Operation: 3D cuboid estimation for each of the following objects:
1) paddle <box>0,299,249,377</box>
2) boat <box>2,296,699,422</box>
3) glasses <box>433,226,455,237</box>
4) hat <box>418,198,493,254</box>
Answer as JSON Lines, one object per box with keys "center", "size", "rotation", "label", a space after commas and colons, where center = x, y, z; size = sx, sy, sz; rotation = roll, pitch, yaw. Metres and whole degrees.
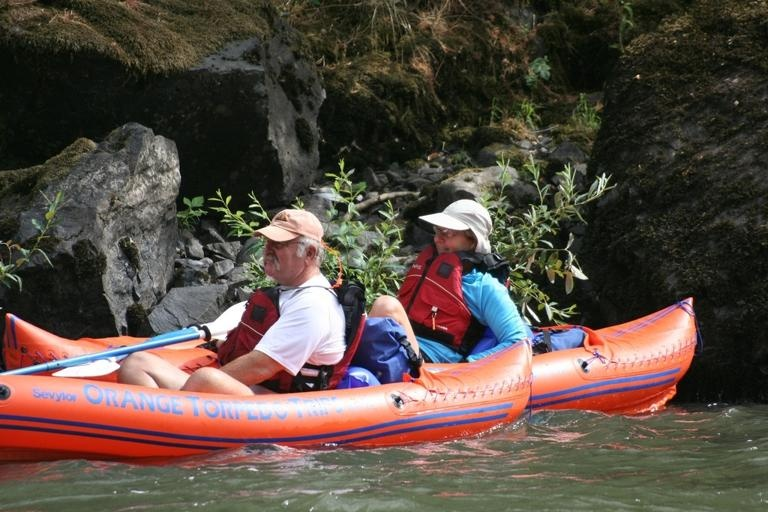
{"center": [-2.514, 0.890, 9.370], "size": [2.460, 0.552, 0.830], "rotation": [-2, 10, -20], "label": "paddle"}
{"center": [-0.207, 0.974, 9.760], "size": [6.826, 1.330, 2.162], "rotation": [2, 0, -11], "label": "boat"}
{"center": [0.586, -0.234, 9.786], "size": [0.109, 0.049, 0.137], "rotation": [31, 6, 22], "label": "glasses"}
{"center": [0.723, -0.350, 9.809], "size": [0.636, 0.325, 0.476], "rotation": [24, -3, -19], "label": "hat"}
